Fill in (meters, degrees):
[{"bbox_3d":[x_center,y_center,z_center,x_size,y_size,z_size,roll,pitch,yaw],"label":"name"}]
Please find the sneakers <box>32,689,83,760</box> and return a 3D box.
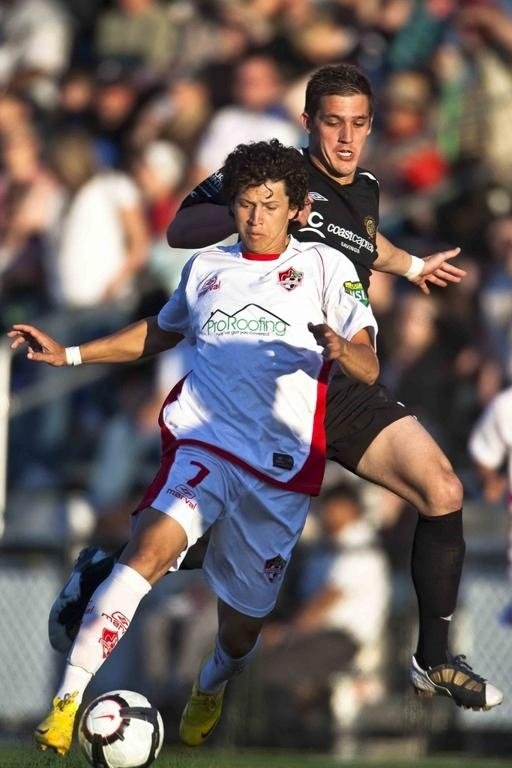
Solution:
[{"bbox_3d":[-0.503,0.861,2.417,0.127,0.075,0.151,7,62,-4],"label":"sneakers"}]
